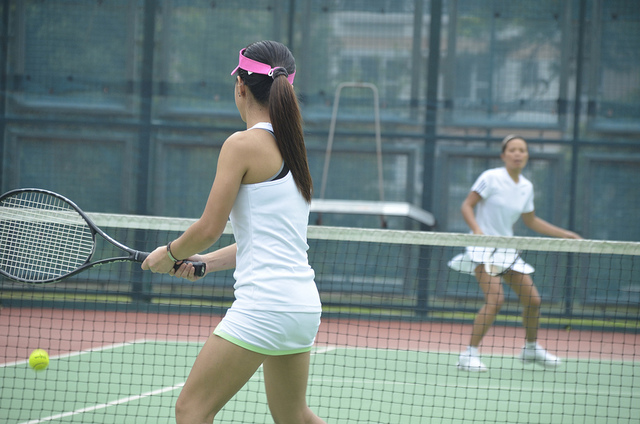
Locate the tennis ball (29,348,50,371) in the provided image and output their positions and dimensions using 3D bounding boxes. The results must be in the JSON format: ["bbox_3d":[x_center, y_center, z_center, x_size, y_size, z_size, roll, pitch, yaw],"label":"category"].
[{"bbox_3d":[-3.329,1.732,12.636,0.231,0.264,0.251,2,0,0],"label":"tennis ball"}]
